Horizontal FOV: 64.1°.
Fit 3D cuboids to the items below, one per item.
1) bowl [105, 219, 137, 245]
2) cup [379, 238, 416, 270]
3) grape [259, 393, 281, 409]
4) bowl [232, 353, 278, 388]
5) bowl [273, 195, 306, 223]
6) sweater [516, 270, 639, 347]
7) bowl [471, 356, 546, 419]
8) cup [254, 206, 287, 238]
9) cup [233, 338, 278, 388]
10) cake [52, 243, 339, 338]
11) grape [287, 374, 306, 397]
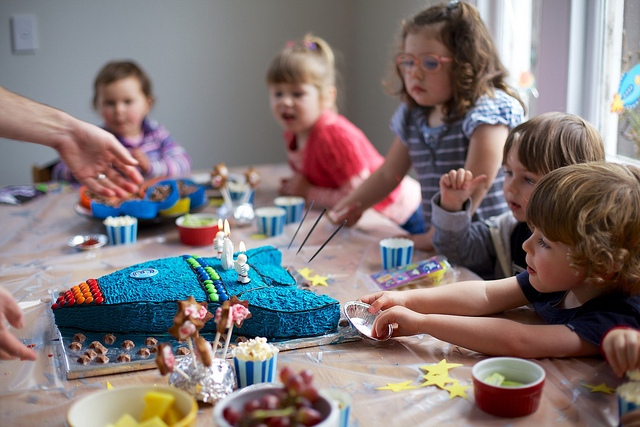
[{"bbox_3d":[-0.635,0.059,1.639,0.079,0.064,0.076,-2,2,0],"label":"bowl"},{"bbox_3d":[0.226,0.127,1.519,0.094,0.084,0.100,-6,5,1],"label":"cup"},{"bbox_3d":[-0.079,0.300,0.813,0.025,0.015,0.026,2,13,-13],"label":"grape"},{"bbox_3d":[-0.127,0.320,1.062,0.077,0.062,0.077,-3,-27,-1],"label":"bowl"},{"bbox_3d":[-0.119,-0.013,1.875,0.112,0.082,0.113,8,10,-2],"label":"bowl"},{"bbox_3d":[0.567,0.183,1.202,0.277,0.135,0.267,4,8,6],"label":"sweater"},{"bbox_3d":[0.366,0.338,0.996,0.133,0.088,0.090,-12,16,-21],"label":"bowl"},{"bbox_3d":[-0.171,0.019,1.747,0.115,0.092,0.120,-3,24,1],"label":"cup"},{"bbox_3d":[-0.130,0.308,1.089,0.083,0.102,0.090,-1,11,0],"label":"cup"},{"bbox_3d":[-0.299,0.200,1.203,0.415,0.104,0.323,-2,15,-14],"label":"cake"},{"bbox_3d":[-0.038,0.270,0.801,0.024,0.034,0.025,2,4,-2],"label":"grape"}]
